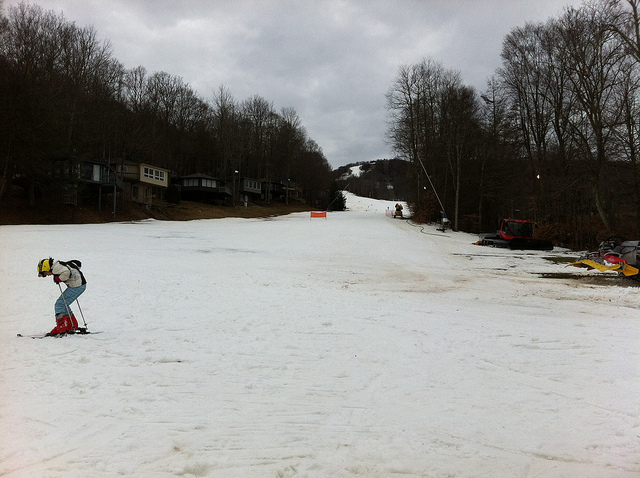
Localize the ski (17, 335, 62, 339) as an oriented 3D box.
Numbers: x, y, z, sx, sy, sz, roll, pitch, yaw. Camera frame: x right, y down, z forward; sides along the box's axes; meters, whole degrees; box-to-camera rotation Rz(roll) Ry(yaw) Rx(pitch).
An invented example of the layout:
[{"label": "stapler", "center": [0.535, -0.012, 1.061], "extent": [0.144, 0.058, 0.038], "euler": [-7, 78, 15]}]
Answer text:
[{"label": "ski", "center": [-9.354, 3.236, 19.304], "extent": [1.429, 0.048, 0.142], "euler": [3, 8, -1]}]

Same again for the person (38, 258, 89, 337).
[{"label": "person", "center": [-8.611, 1.909, 19.494], "extent": [1.345, 2.589, 0.824], "euler": [-1, 8, -24]}]
